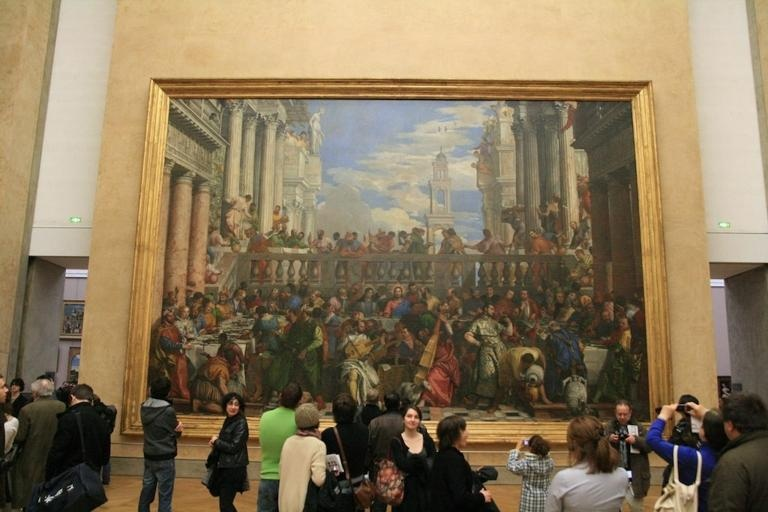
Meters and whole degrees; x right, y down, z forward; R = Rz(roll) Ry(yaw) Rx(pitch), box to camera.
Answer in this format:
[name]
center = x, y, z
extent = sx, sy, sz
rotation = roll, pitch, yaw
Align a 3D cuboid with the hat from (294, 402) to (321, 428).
[hat]
center = -0.978, 2.086, 9.308
extent = 0.333, 0.232, 0.317
rotation = 0, 5, 5
